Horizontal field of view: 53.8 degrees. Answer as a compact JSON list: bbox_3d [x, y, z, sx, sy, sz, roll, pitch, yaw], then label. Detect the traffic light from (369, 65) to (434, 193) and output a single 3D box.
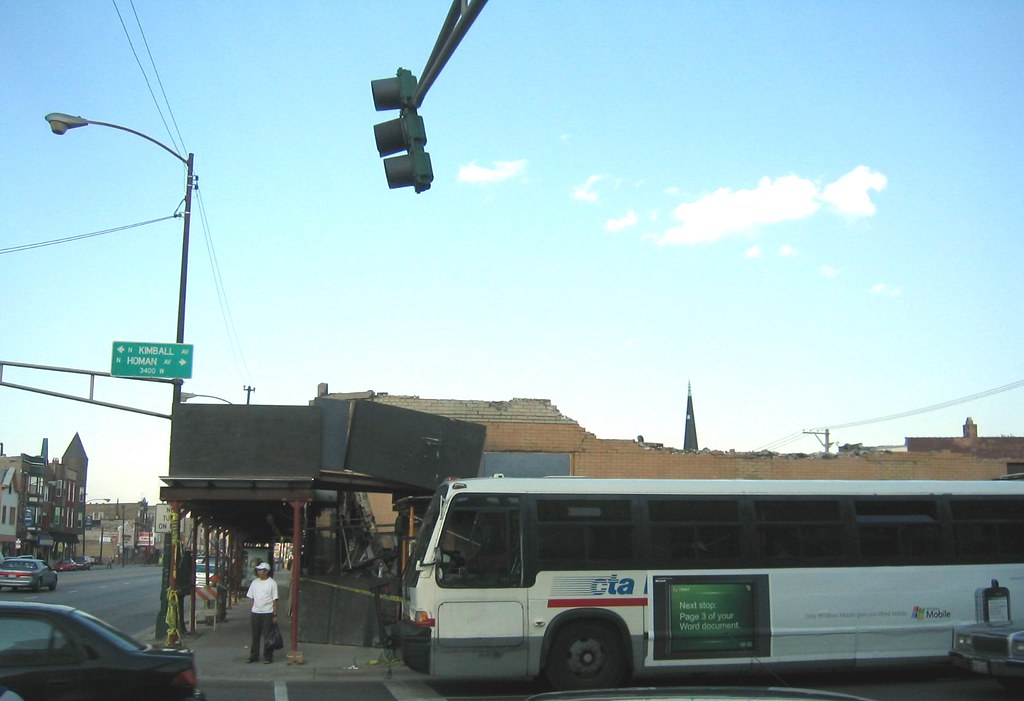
[{"bbox_3d":[-1.659,-3.320,15.157,0.843,1.934,0.485,-2,-6,-9],"label":"traffic light"}]
